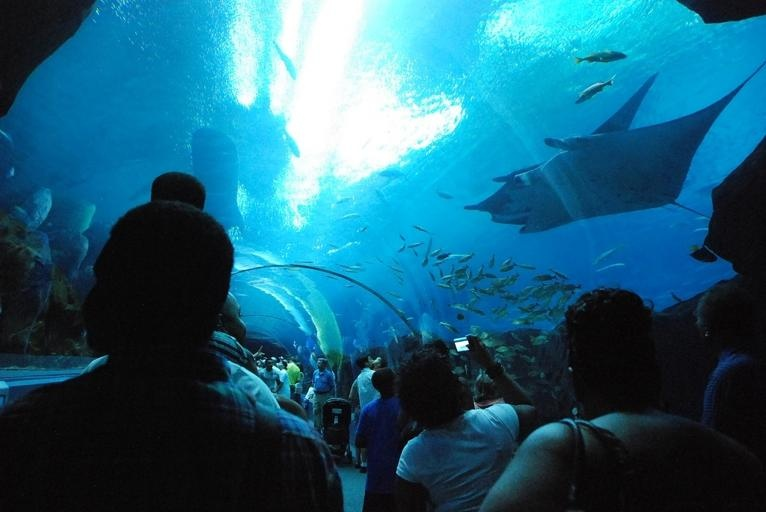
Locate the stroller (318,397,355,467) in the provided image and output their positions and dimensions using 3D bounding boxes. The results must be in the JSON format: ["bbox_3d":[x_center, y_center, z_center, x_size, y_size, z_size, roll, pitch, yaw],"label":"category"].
[{"bbox_3d":[-1.333,5.194,17.485,1.272,1.769,1.140,2,1,-7],"label":"stroller"}]

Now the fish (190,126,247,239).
[{"bbox_3d":[-6.334,-2.715,21.689,1.723,4.021,2.173,2,6,-12],"label":"fish"}]
